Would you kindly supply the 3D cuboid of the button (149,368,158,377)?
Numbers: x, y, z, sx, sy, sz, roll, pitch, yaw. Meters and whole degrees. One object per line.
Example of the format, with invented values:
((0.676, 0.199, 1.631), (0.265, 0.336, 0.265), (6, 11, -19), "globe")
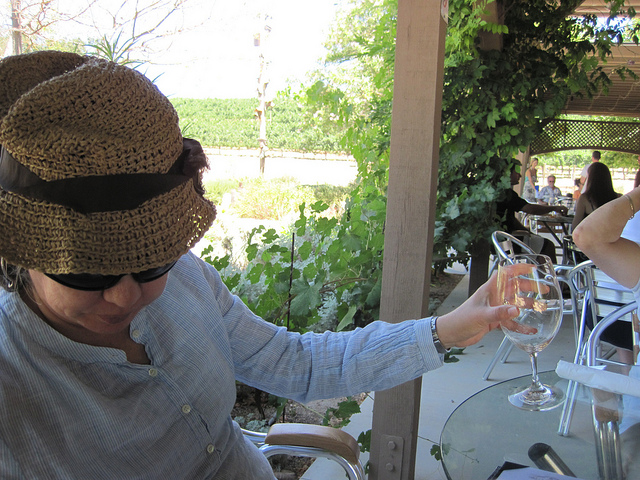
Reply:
((-0.388, 0.310, 1.208), (0.006, 0.023, 0.020), (6, 8, 40), "button")

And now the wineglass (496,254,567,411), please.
((0.550, 0.238, 1.329), (0.144, 0.341, 0.146), (-2, 2, -9), "wineglass")

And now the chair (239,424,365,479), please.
((-0.047, 0.572, 1.486), (0.267, 0.176, 0.157), (-2, 1, 4), "chair")

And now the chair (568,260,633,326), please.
((1.324, 0.249, 2.441), (0.292, 0.379, 0.259), (0, 48, 24), "chair")

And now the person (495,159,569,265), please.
((2.054, -0.129, 5.132), (0.747, 1.354, 0.527), (-3, 7, 18), "person")

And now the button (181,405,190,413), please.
((-0.320, 0.402, 1.229), (0.021, 0.022, 0.006), (3, -3, -16), "button")

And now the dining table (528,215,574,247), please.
((2.626, -0.068, 5.880), (0.488, 0.336, 0.482), (-4, 20, 7), "dining table")

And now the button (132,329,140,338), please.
((-0.430, 0.219, 1.209), (0.015, 0.020, 0.004), (-3, 7, -28), "button")
